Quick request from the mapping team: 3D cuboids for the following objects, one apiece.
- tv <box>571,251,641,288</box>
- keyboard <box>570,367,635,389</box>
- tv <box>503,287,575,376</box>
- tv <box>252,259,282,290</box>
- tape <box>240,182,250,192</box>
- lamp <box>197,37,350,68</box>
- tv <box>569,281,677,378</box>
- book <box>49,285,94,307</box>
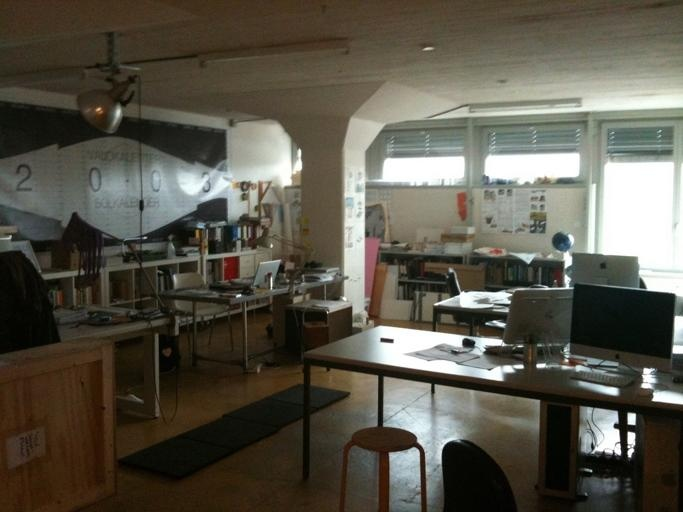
[{"bbox_3d":[2.474,0.137,5.646,0.414,0.399,0.135,4,12,28],"label":"tv"},{"bbox_3d":[1.810,0.833,4.139,0.399,0.049,0.335,3,5,30],"label":"keyboard"},{"bbox_3d":[1.478,0.568,4.456,0.570,0.588,0.289,4,-4,-3],"label":"tv"},{"bbox_3d":[-0.912,0.166,6.966,0.405,0.356,0.285,-10,21,-42],"label":"tv"},{"bbox_3d":[-1.563,-1.113,9.630,0.033,0.140,0.144,12,22,40],"label":"tape"},{"bbox_3d":[-0.598,-1.769,5.237,1.443,0.095,0.368,2,5,15],"label":"lamp"},{"bbox_3d":[1.972,0.542,4.223,0.617,0.527,0.297,4,6,35],"label":"tv"},{"bbox_3d":[-3.082,0.450,6.763,0.086,0.219,0.246,2,3,29],"label":"book"}]
